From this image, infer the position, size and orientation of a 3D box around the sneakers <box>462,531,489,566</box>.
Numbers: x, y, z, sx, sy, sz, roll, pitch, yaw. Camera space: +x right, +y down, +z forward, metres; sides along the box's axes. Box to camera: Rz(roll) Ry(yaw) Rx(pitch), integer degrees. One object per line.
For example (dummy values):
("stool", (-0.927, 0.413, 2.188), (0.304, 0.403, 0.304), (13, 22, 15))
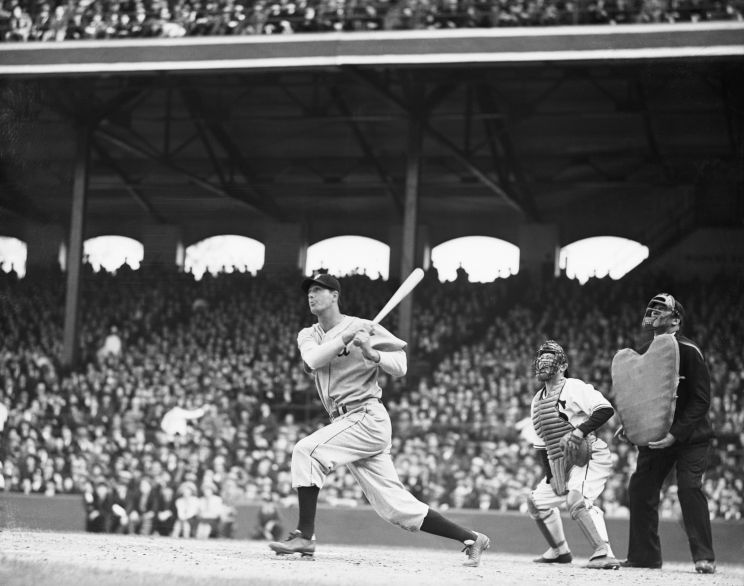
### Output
("sneakers", (0.936, 2.323, 16.514), (0.215, 0.432, 0.147), (8, -7, -2))

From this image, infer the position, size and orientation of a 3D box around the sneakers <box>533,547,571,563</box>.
("sneakers", (1.711, 2.498, 17.397), (0.384, 0.150, 0.133), (3, -5, 8))

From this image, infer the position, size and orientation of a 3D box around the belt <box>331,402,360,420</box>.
("belt", (-0.264, 1.082, 16.545), (0.345, 0.132, 0.087), (-11, -17, 35))

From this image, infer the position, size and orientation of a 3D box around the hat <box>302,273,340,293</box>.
("hat", (-0.475, -0.099, 16.638), (0.343, 0.217, 0.296), (1, -14, -9))

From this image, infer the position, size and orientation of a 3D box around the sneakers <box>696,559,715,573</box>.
("sneakers", (3.094, 2.541, 16.889), (0.082, 0.084, 0.193), (-5, -15, 25))

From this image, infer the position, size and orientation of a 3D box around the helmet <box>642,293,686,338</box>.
("helmet", (2.743, 0.201, 17.201), (0.425, 0.371, 0.336), (15, -12, -25))

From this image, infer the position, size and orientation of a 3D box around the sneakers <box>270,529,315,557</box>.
("sneakers", (-0.715, 2.249, 16.356), (0.386, 0.211, 0.205), (7, -13, -7))

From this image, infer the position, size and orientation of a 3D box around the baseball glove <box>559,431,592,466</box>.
("baseball glove", (1.905, 1.460, 16.934), (0.281, 0.266, 0.344), (-3, -14, 9))
